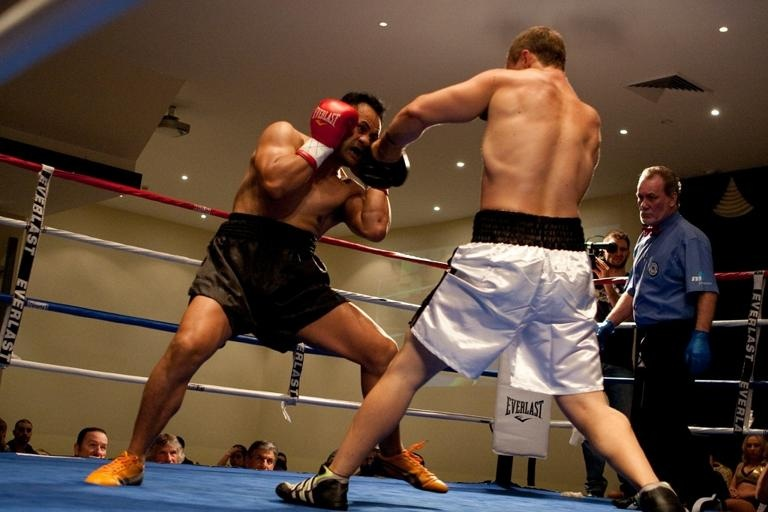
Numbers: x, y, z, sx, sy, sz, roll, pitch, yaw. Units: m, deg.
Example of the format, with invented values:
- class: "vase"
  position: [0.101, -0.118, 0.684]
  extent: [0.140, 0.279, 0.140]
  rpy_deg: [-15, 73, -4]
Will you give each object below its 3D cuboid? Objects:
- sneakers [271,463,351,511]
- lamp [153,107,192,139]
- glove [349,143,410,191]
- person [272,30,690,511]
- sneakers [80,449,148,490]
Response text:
- class: "sneakers"
  position: [-0.289, 1.006, 2.805]
  extent: [0.385, 0.171, 0.143]
  rpy_deg: [-1, -18, 32]
- class: "lamp"
  position: [-2.753, -1.722, 8.214]
  extent: [0.389, 0.343, 0.395]
  rpy_deg: [-10, -17, 42]
- class: "glove"
  position: [0.009, -0.464, 3.395]
  extent: [0.316, 0.199, 0.382]
  rpy_deg: [11, 5, 24]
- class: "person"
  position: [0.628, -0.069, 2.867]
  extent: [1.347, 2.090, 0.342]
  rpy_deg: [12, -15, -6]
- class: "sneakers"
  position: [-1.201, 0.944, 2.844]
  extent: [0.236, 0.146, 0.186]
  rpy_deg: [11, -15, -5]
